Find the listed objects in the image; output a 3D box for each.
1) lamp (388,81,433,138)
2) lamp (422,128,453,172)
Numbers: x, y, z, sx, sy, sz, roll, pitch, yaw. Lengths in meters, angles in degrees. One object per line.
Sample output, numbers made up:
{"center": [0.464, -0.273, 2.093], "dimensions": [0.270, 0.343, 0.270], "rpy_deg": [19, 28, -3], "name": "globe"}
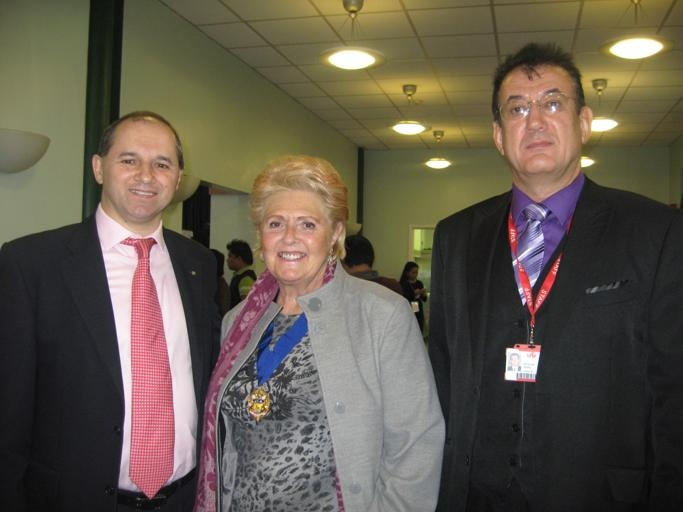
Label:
{"center": [1.088, -2.272, 8.895], "dimensions": [0.400, 0.602, 0.366], "rpy_deg": [6, 4, 41], "name": "lamp"}
{"center": [1.869, -2.078, 10.942], "dimensions": [0.598, 0.699, 0.545], "rpy_deg": [1, -2, 2], "name": "lamp"}
